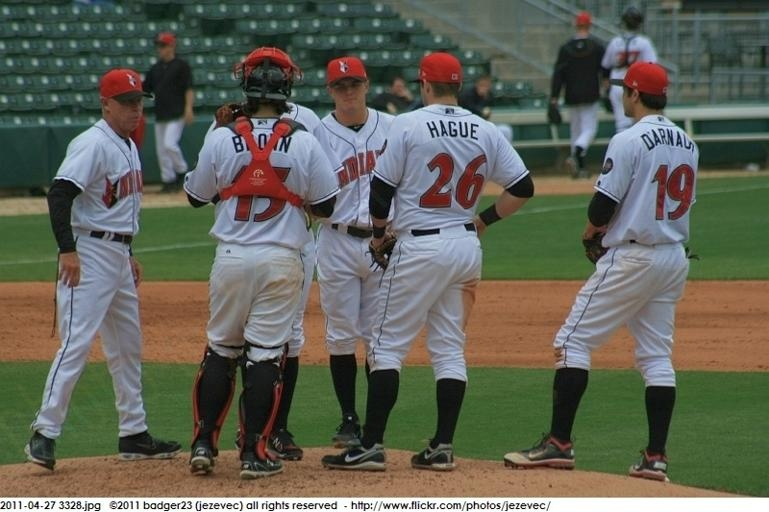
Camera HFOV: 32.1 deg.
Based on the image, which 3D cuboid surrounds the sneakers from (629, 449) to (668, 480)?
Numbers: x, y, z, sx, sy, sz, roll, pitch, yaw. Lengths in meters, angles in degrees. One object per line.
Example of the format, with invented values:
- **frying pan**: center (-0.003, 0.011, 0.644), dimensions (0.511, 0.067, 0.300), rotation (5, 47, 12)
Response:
- **sneakers**: center (2.582, 2.029, 12.974), dimensions (0.379, 0.261, 0.239), rotation (2, 11, 9)

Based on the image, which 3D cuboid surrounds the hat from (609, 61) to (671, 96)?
- **hat**: center (2.616, -1.836, 13.493), dimensions (0.691, 0.295, 0.428), rotation (15, 20, 32)

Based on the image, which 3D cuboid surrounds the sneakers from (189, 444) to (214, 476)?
- **sneakers**: center (-1.756, 1.970, 12.856), dimensions (0.228, 0.304, 0.133), rotation (-1, 11, -12)

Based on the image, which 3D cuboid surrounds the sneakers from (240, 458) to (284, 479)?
- **sneakers**: center (-1.184, 2.038, 12.831), dimensions (0.452, 0.180, 0.158), rotation (-3, 5, -29)

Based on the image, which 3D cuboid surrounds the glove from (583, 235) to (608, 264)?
- **glove**: center (2.123, -0.063, 13.465), dimensions (0.160, 0.275, 0.241), rotation (-5, -6, -43)

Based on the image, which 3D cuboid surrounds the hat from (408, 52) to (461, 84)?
- **hat**: center (0.525, -1.909, 13.457), dimensions (0.617, 0.298, 0.462), rotation (7, 15, 37)

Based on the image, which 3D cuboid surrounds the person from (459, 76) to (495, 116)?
- **person**: center (1.655, -2.709, 24.013), dimensions (0.486, 0.423, 1.321), rotation (-11, -21, -9)

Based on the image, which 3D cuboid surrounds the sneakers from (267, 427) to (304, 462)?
- **sneakers**: center (-1.011, 1.890, 13.291), dimensions (0.197, 0.170, 0.419), rotation (1, 3, -44)

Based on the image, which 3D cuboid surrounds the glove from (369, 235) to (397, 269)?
- **glove**: center (-0.002, -0.038, 13.493), dimensions (0.200, 0.420, 0.155), rotation (15, 8, 15)

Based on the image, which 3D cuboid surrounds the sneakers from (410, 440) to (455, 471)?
- **sneakers**: center (0.492, 1.974, 13.038), dimensions (0.507, 0.221, 0.206), rotation (0, -3, 33)

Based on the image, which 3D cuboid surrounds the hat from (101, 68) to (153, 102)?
- **hat**: center (-2.586, -1.706, 13.303), dimensions (0.474, 0.221, 0.309), rotation (4, 16, 14)

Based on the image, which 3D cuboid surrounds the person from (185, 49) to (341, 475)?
- **person**: center (-1.236, 0.046, 12.969), dimensions (1.414, 4.052, 1.104), rotation (-2, 11, -16)

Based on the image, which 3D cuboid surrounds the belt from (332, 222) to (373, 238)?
- **belt**: center (-0.320, -0.253, 13.598), dimensions (0.258, 0.069, 0.195), rotation (12, -4, 8)
